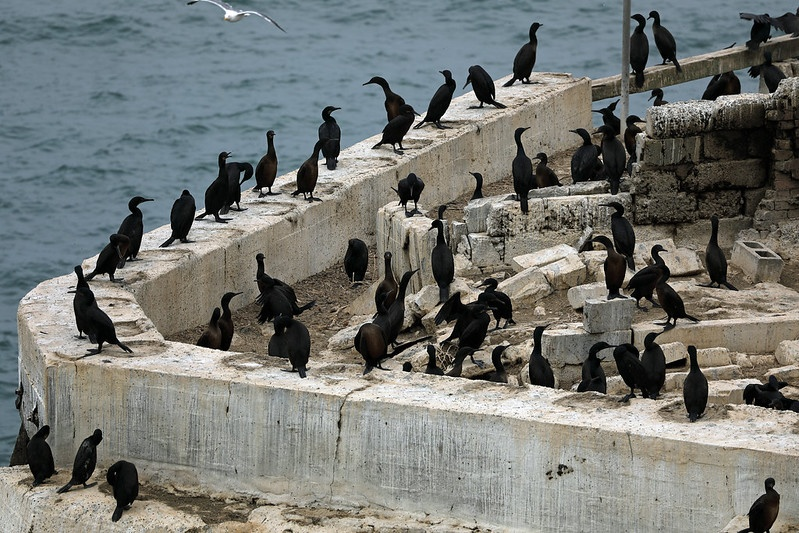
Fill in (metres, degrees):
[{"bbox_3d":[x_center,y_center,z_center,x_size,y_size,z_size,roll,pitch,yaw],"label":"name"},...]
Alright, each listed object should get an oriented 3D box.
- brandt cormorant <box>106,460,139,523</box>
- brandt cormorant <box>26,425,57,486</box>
[{"bbox_3d":[-4.360,3.497,29.565,0.455,0.842,0.426,-5,16,-11],"label":"brandt cormorant"},{"bbox_3d":[-5.730,3.016,30.009,0.314,1.063,0.459,16,23,33],"label":"brandt cormorant"}]
